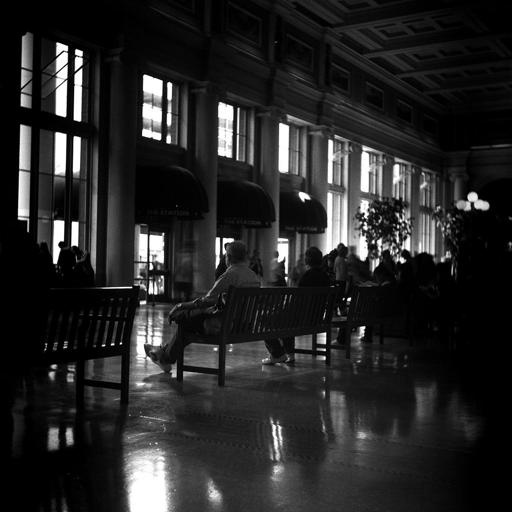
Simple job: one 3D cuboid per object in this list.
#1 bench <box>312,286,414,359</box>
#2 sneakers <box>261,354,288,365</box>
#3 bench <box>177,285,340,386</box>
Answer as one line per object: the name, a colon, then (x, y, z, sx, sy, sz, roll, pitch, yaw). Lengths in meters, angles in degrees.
bench: (1.731, 1.077, 10.397, 0.571, 1.199, 2.098, 7, 1, 30)
sneakers: (0.256, 1.425, 8.492, 0.348, 0.202, 0.148, 0, 1, -10)
bench: (0.150, 0.983, 8.074, 0.732, 1.301, 2.655, 5, 0, 35)
